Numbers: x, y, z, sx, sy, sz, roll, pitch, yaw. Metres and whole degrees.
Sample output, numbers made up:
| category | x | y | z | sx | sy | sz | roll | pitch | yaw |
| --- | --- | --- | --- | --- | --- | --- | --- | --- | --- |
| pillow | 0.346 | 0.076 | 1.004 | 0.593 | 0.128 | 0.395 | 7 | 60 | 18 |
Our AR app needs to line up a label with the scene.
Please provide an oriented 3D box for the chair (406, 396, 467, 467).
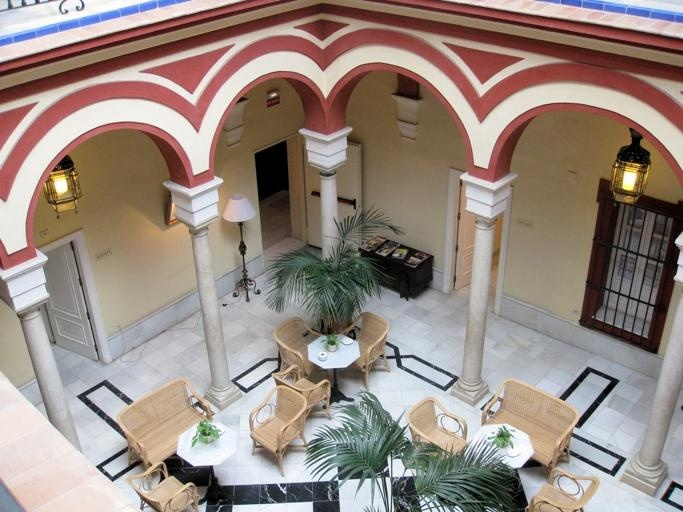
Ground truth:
| category | x | y | z | sx | sy | sz | roll | pitch | yaw |
| --- | --- | --- | --- | --- | --- | --- | --- | --- | --- |
| chair | 1.475 | 2.796 | 7.305 | 0.674 | 0.935 | 0.784 | -22 | 15 | -24 |

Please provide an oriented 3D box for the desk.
| category | x | y | z | sx | sy | sz | roll | pitch | yaw |
| --- | --- | --- | --- | --- | --- | --- | --- | --- | --- |
| desk | 1.252 | 0.281 | 11.278 | 1.472 | 0.992 | 0.810 | 21 | 36 | 32 |

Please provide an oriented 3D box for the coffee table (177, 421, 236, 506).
| category | x | y | z | sx | sy | sz | roll | pitch | yaw |
| --- | --- | --- | --- | --- | --- | --- | --- | --- | --- |
| coffee table | -2.020 | 3.126 | 7.114 | 0.720 | 0.864 | 0.755 | -16 | 52 | -17 |

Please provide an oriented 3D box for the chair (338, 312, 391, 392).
| category | x | y | z | sx | sy | sz | roll | pitch | yaw |
| --- | --- | --- | --- | --- | --- | --- | --- | --- | --- |
| chair | 0.435 | 1.749 | 9.016 | 0.766 | 1.090 | 0.736 | -22 | 31 | -37 |

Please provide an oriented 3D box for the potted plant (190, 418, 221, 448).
| category | x | y | z | sx | sy | sz | roll | pitch | yaw |
| --- | --- | --- | --- | --- | --- | --- | --- | --- | --- |
| potted plant | -1.986 | 2.604 | 7.004 | 0.338 | 0.165 | 0.365 | 1 | 62 | -11 |

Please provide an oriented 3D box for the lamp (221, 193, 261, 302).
| category | x | y | z | sx | sy | sz | roll | pitch | yaw |
| --- | --- | --- | --- | --- | --- | --- | --- | --- | --- |
| lamp | -2.340 | -0.196 | 10.941 | 0.877 | 2.568 | 0.914 | -4 | 43 | -8 |

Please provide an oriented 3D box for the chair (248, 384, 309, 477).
| category | x | y | z | sx | sy | sz | roll | pitch | yaw |
| --- | --- | --- | --- | --- | --- | --- | --- | --- | --- |
| chair | -0.998 | 2.763 | 7.619 | 0.888 | 1.080 | 0.917 | -2 | 21 | -9 |

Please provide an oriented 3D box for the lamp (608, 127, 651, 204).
| category | x | y | z | sx | sy | sz | roll | pitch | yaw |
| --- | --- | --- | --- | --- | --- | --- | --- | --- | --- |
| lamp | 3.882 | -1.180 | 6.381 | 0.429 | 1.062 | 0.472 | 16 | 32 | 29 |

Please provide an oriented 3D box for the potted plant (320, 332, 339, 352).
| category | x | y | z | sx | sy | sz | roll | pitch | yaw |
| --- | --- | --- | --- | --- | --- | --- | --- | --- | --- |
| potted plant | -0.184 | 1.511 | 8.533 | 0.259 | 0.242 | 0.276 | 3 | 46 | 2 |

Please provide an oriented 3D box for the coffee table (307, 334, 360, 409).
| category | x | y | z | sx | sy | sz | roll | pitch | yaw |
| --- | --- | --- | --- | --- | --- | --- | --- | --- | --- |
| coffee table | -0.129 | 2.011 | 8.756 | 1.033 | 1.241 | 1.112 | -3 | 47 | -2 |

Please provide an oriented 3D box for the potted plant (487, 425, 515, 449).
| category | x | y | z | sx | sy | sz | roll | pitch | yaw |
| --- | --- | --- | --- | --- | --- | --- | --- | --- | --- |
| potted plant | 2.358 | 2.620 | 6.950 | 0.312 | 0.220 | 0.376 | 7 | 30 | 14 |

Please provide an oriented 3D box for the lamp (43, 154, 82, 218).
| category | x | y | z | sx | sy | sz | roll | pitch | yaw |
| --- | --- | --- | --- | --- | --- | --- | --- | --- | --- |
| lamp | -3.799 | -1.113 | 6.551 | 0.394 | 1.051 | 0.403 | 1 | 11 | 11 |

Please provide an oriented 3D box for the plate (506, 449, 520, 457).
| category | x | y | z | sx | sy | sz | roll | pitch | yaw |
| --- | --- | --- | --- | --- | --- | --- | --- | --- | --- |
| plate | 2.458 | 2.795 | 6.794 | 0.165 | 0.030 | 0.112 | 3 | 29 | 6 |

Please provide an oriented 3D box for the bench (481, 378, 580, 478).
| category | x | y | z | sx | sy | sz | roll | pitch | yaw |
| --- | --- | --- | --- | --- | --- | --- | --- | --- | --- |
| bench | 2.948 | 2.768 | 7.562 | 0.837 | 1.037 | 1.307 | -18 | 22 | -38 |

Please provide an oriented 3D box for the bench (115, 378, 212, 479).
| category | x | y | z | sx | sy | sz | roll | pitch | yaw |
| --- | --- | --- | --- | --- | --- | --- | --- | --- | --- |
| bench | -2.796 | 2.802 | 7.659 | 0.821 | 0.969 | 1.385 | 17 | 21 | 27 |

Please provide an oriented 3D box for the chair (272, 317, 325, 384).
| category | x | y | z | sx | sy | sz | roll | pitch | yaw |
| --- | --- | --- | --- | --- | --- | --- | --- | --- | --- |
| chair | -0.718 | 1.894 | 8.952 | 0.900 | 1.197 | 0.909 | -18 | 27 | -32 |
